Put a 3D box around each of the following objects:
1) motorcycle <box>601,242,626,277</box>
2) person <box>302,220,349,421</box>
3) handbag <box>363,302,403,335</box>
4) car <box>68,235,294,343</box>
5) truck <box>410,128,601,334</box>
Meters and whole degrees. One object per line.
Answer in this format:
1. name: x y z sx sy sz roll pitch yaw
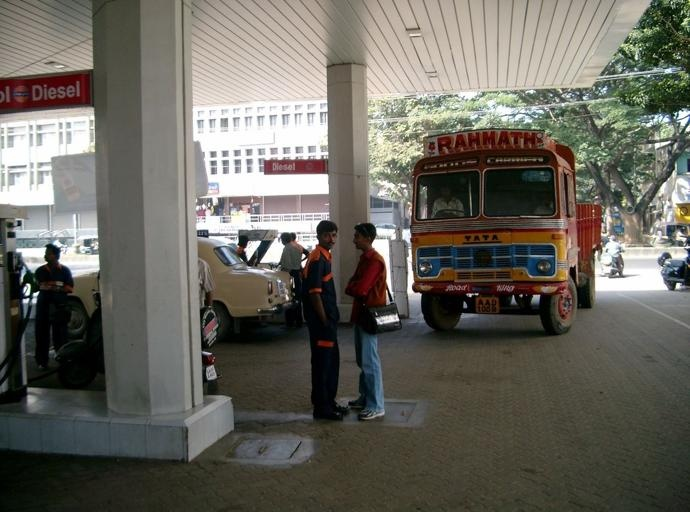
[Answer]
1. motorcycle: 11.776 0.135 24.700 0.700 1.571 1.410 0 2 39
2. person: -0.271 0.764 6.799 0.502 2.396 0.454 -1 1 5
3. handbag: 0.478 0.754 6.794 0.479 0.374 0.179 -3 2 -31
4. car: -3.727 0.662 12.416 4.885 2.222 2.104 2 -1 1
5. truck: 4.001 -0.610 13.893 2.657 3.149 5.653 -1 -1 21
